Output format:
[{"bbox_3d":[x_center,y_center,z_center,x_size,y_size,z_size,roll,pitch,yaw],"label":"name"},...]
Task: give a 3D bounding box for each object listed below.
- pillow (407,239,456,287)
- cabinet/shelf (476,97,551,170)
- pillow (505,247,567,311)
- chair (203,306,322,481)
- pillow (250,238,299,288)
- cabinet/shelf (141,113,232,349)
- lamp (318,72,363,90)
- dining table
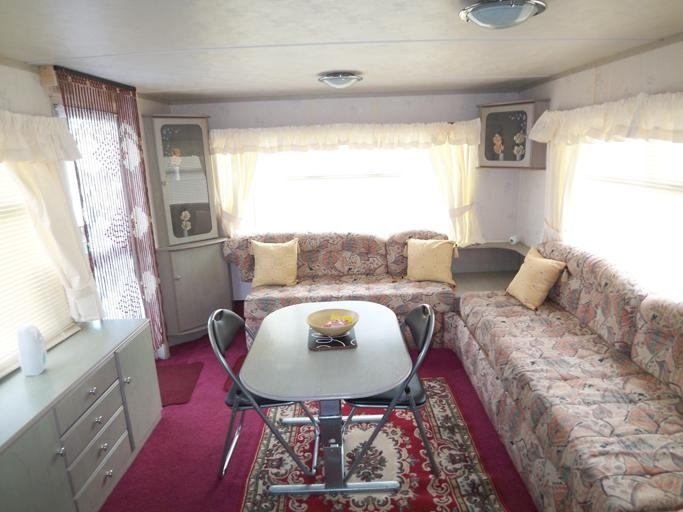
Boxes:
[{"bbox_3d":[0.903,0.074,4.744,0.481,0.446,0.173,-1,-7,12],"label":"pillow"},{"bbox_3d":[1.755,-1.229,4.731,0.298,0.704,0.742,-11,16,-28],"label":"cabinet/shelf"},{"bbox_3d":[1.666,0.208,4.033,0.132,0.428,0.424,22,14,-17],"label":"pillow"},{"bbox_3d":[-0.528,0.991,3.222,0.828,1.221,0.747,0,19,1],"label":"chair"},{"bbox_3d":[-0.687,0.084,4.861,0.501,0.519,0.192,-3,-4,-1],"label":"pillow"},{"bbox_3d":[-1.573,-0.268,4.873,0.702,2.291,0.440,-7,15,-21],"label":"cabinet/shelf"},{"bbox_3d":[-0.006,-1.502,3.973,0.375,0.087,0.261,-2,12,-4],"label":"lamp"},{"bbox_3d":[-0.079,0.729,3.130,0.915,0.717,1.276,-1,18,-1],"label":"dining table"}]
